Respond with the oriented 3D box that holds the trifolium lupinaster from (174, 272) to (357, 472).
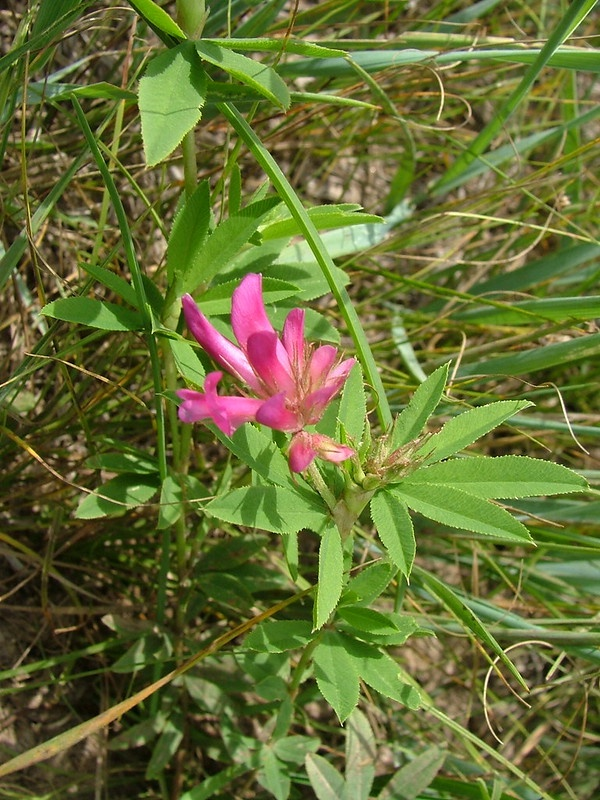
[{"bbox_3d":[-0.037,-0.030,1.067,0.236,0.305,0.334,-5,61,4],"label":"trifolium lupinaster"}]
